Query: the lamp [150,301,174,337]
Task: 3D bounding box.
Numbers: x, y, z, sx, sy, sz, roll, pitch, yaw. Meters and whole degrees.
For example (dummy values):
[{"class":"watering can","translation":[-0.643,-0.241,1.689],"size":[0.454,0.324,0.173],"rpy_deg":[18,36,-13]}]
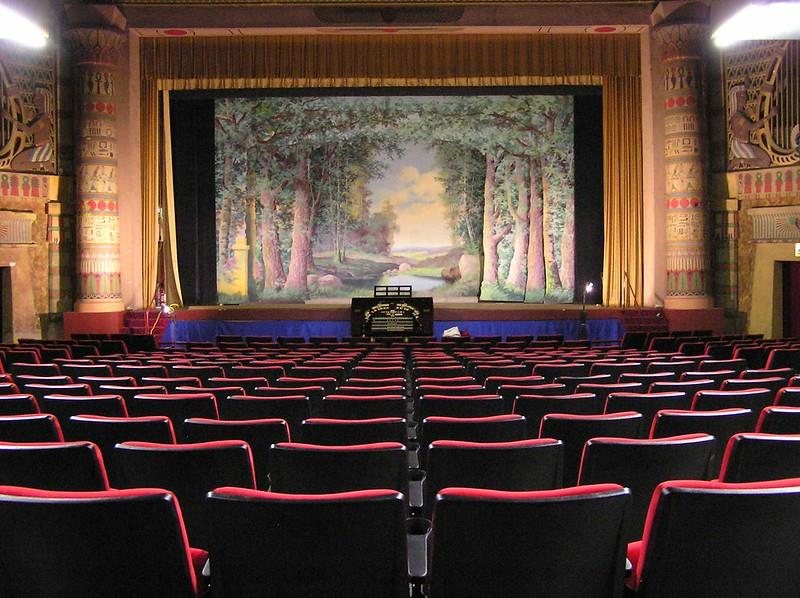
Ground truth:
[{"class":"lamp","translation":[-5.145,0.455,14.729],"size":[0.423,0.721,0.725],"rpy_deg":[17,-6,-19]}]
